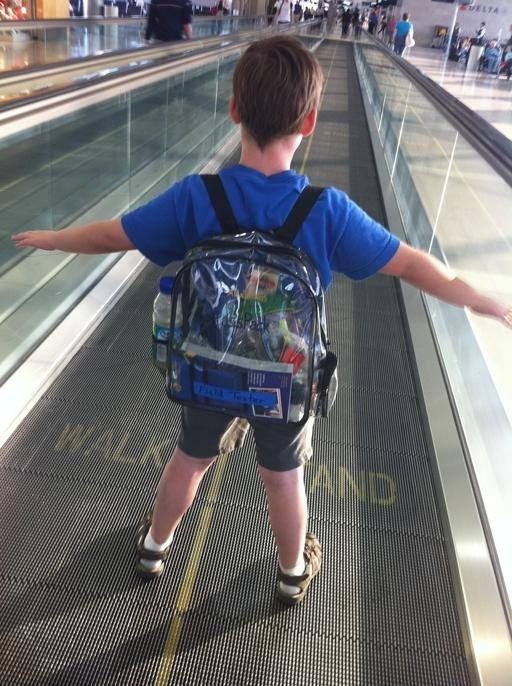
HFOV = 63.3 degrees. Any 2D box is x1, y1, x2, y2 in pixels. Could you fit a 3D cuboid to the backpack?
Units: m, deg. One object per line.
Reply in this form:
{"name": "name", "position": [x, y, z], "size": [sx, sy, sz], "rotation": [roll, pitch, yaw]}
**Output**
{"name": "backpack", "position": [-0.013, -0.094, 0.782], "size": [0.331, 0.442, 0.240], "rotation": [9, 34, 10]}

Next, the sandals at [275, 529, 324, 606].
{"name": "sandals", "position": [0.121, 0.669, 1.198], "size": [0.075, 0.097, 0.222], "rotation": [1, 32, 15]}

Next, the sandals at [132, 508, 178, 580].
{"name": "sandals", "position": [-0.294, 0.614, 1.253], "size": [0.072, 0.099, 0.235], "rotation": [14, 37, -8]}
